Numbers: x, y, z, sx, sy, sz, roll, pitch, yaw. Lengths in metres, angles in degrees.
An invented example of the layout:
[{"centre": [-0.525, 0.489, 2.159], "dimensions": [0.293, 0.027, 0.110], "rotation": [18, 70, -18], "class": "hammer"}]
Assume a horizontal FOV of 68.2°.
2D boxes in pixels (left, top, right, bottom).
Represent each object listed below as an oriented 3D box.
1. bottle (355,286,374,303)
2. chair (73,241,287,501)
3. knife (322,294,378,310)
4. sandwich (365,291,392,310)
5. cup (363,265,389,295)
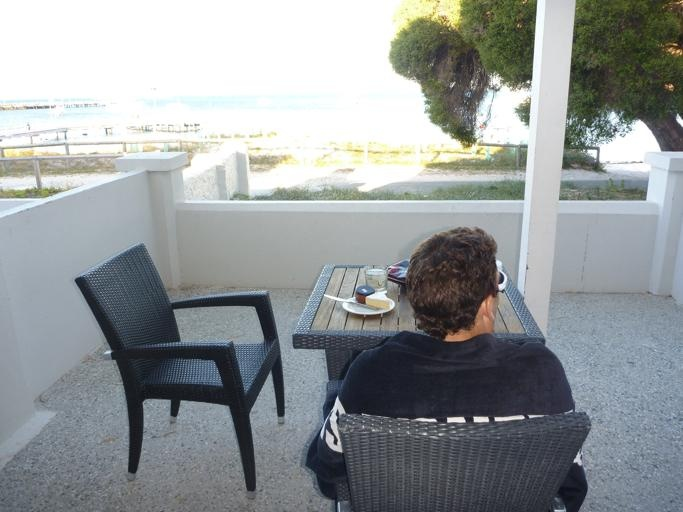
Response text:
[{"centre": [0.105, 0.172, 2.372], "dimensions": [0.072, 0.046, 0.071], "rotation": [-3, 25, 1], "class": "bottle"}, {"centre": [-0.711, 0.512, 2.461], "dimensions": [0.785, 0.980, 0.686], "rotation": [5, 17, 9], "class": "chair"}, {"centre": [0.043, 0.221, 2.372], "dimensions": [0.237, 0.041, 0.019], "rotation": [14, 12, 28], "class": "knife"}, {"centre": [0.171, 0.208, 2.333], "dimensions": [0.084, 0.032, 0.081], "rotation": [10, 16, 38], "class": "sandwich"}, {"centre": [0.172, 0.118, 2.531], "dimensions": [0.093, 0.123, 0.119], "rotation": [-1, 12, 1], "class": "cup"}]
